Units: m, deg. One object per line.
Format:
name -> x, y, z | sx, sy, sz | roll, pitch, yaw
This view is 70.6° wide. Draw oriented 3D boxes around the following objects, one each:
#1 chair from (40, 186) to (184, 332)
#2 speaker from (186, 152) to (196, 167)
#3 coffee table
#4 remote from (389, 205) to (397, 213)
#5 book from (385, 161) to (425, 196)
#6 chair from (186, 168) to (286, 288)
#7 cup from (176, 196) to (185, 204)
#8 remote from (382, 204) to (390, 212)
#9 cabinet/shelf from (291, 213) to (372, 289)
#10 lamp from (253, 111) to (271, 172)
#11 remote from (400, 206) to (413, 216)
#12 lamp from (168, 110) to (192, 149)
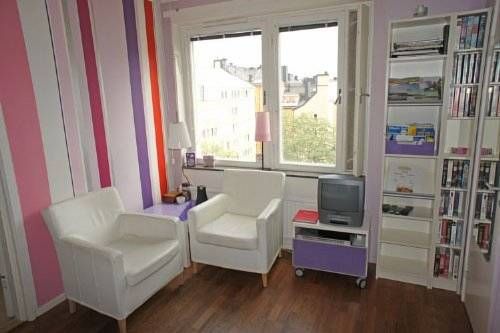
chair -> -1.428, 0.934, 4.344 | 1.522, 1.546, 1.258 | 9, 18, 23
speaker -> -0.904, -0.103, 5.330 | 0.152, 0.204, 0.118 | -5, 14, -11
coffee table -> -0.978, 0.976, 4.858 | 0.737, 0.598, 0.771 | 7, 17, 26
remote -> 1.719, 0.513, 4.257 | 0.053, 0.056, 0.201 | 3, 26, 30
book -> 1.842, 0.158, 4.190 | 0.381, 0.366, 0.093 | 3, -6, 25
chair -> -0.043, 0.702, 4.833 | 1.266, 1.475, 1.375 | 3, 9, 18
cup -> -1.014, 0.487, 5.090 | 0.102, 0.068, 0.104 | 0, -3, 0
remote -> 1.643, 0.509, 4.286 | 0.064, 0.031, 0.133 | 5, 17, 20
cabinet/shelf -> 1.060, 0.838, 4.477 | 1.036, 0.818, 0.770 | 2, 7, 21
lamp -> 0.172, -0.340, 4.824 | 0.211, 0.818, 0.394 | -1, 14, 3
remote -> 1.849, 0.531, 4.204 | 0.073, 0.042, 0.249 | 4, 21, 37
lamp -> -1.052, -0.481, 4.942 | 0.365, 0.498, 0.362 | -10, 17, -26
